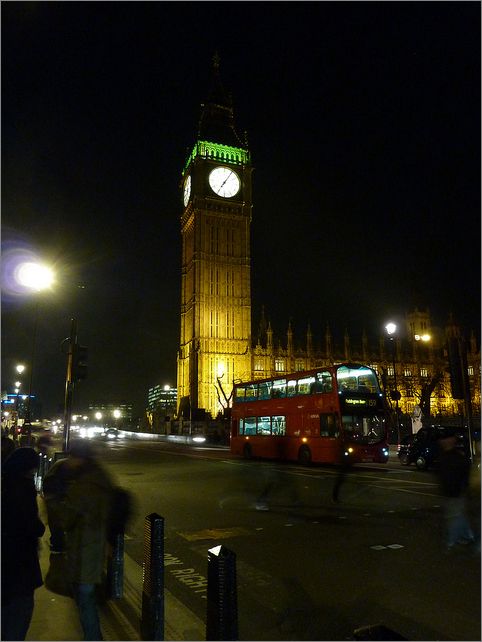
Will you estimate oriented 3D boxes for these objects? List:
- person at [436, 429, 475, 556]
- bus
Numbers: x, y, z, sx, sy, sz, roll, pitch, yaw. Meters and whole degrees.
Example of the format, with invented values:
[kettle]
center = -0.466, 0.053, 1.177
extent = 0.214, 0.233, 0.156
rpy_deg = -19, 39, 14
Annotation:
[person]
center = 3.109, 2.474, 7.651
extent = 0.466, 1.490, 0.794
rpy_deg = -3, -11, 21
[bus]
center = 2.455, 4.567, 24.889
extent = 2.322, 4.557, 9.199
rpy_deg = 7, -15, -30
